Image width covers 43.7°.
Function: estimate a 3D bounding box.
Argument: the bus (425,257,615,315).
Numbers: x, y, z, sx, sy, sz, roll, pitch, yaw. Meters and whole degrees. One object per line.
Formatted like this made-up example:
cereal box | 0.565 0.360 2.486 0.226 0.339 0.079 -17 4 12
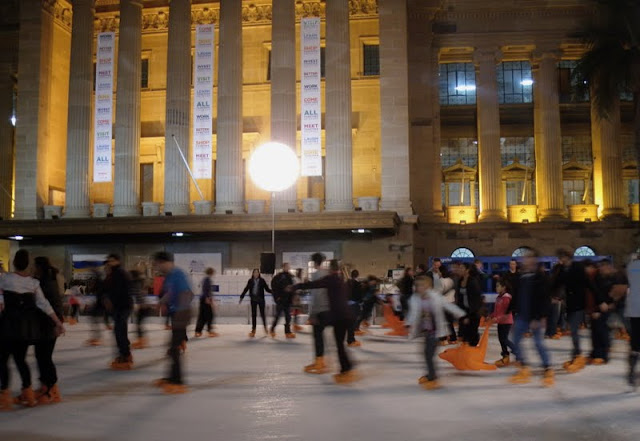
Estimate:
bus | 7.982 3.043 37.368 6.913 2.511 1.989 0 -20 -29
